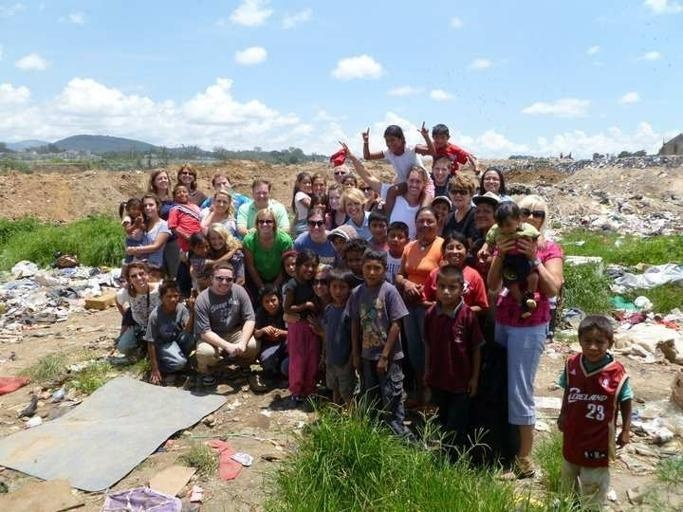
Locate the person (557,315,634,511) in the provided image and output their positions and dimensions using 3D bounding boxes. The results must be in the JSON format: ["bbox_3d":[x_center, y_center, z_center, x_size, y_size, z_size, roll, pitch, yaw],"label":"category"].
[{"bbox_3d":[2.196,1.347,4.169,0.463,1.689,0.401,0,4,-9],"label":"person"}]

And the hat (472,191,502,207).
[{"bbox_3d":[1.711,-0.632,5.556,0.311,0.134,0.439,9,-1,21],"label":"hat"}]

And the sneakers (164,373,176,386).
[{"bbox_3d":[-2.277,1.630,6.287,0.120,0.036,0.113,5,25,-15],"label":"sneakers"}]
